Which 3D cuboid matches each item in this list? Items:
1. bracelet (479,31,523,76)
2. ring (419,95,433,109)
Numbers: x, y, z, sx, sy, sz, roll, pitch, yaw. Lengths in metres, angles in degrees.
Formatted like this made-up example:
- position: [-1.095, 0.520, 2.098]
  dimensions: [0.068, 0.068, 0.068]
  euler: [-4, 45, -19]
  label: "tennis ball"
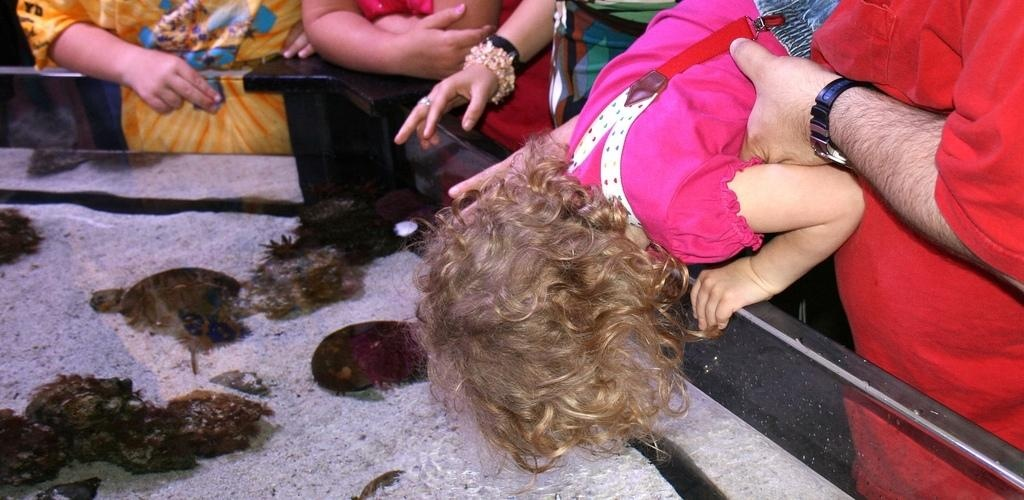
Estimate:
- position: [-0.030, -0.615, 2.314]
  dimensions: [0.122, 0.051, 0.101]
  euler: [41, 14, -10]
  label: "bracelet"
- position: [-0.252, -0.438, 2.170]
  dimensions: [0.042, 0.021, 0.061]
  euler: [1, 16, -9]
  label: "ring"
